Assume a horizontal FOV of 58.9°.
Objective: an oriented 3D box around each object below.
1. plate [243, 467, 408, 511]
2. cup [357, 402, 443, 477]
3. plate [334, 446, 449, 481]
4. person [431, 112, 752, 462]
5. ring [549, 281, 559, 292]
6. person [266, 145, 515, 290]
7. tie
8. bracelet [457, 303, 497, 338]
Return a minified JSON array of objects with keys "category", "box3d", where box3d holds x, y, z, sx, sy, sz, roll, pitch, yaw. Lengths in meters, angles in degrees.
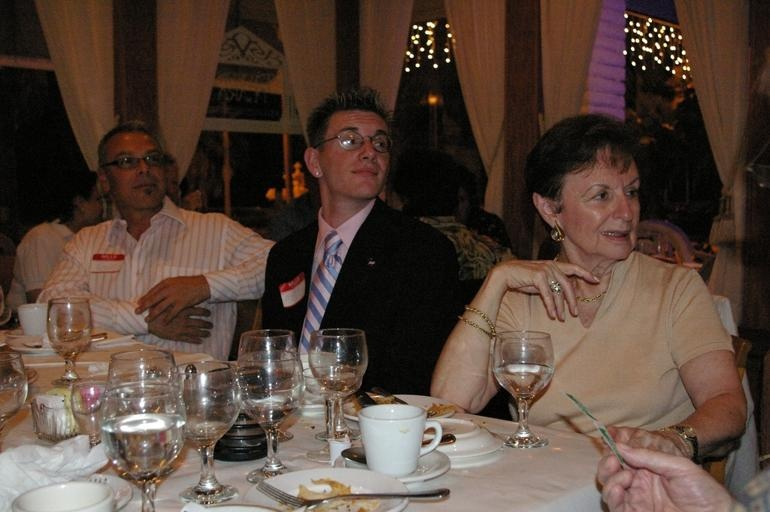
[{"category":"plate","box3d":[-0.146,0.650,1.928,0.195,0.021,0.200,3,3,42]},{"category":"cup","box3d":[0.044,0.566,2.085,0.247,0.176,0.199,1,-1,-9]},{"category":"plate","box3d":[0.013,0.618,2.059,0.368,0.056,0.372,2,-4,3]},{"category":"person","box3d":[0.809,0.173,2.701,1.110,1.376,0.981,-8,-9,35]},{"category":"ring","box3d":[0.655,0.120,2.666,0.031,0.043,0.017,-22,10,20]},{"category":"person","box3d":[0.105,-0.236,4.114,1.063,0.425,0.570,6,33,18]},{"category":"tie","box3d":[-0.300,0.143,3.189,0.136,0.627,0.063,18,-27,3]},{"category":"bracelet","box3d":[0.360,0.257,2.665,0.135,0.103,0.042,38,-18,14]}]
